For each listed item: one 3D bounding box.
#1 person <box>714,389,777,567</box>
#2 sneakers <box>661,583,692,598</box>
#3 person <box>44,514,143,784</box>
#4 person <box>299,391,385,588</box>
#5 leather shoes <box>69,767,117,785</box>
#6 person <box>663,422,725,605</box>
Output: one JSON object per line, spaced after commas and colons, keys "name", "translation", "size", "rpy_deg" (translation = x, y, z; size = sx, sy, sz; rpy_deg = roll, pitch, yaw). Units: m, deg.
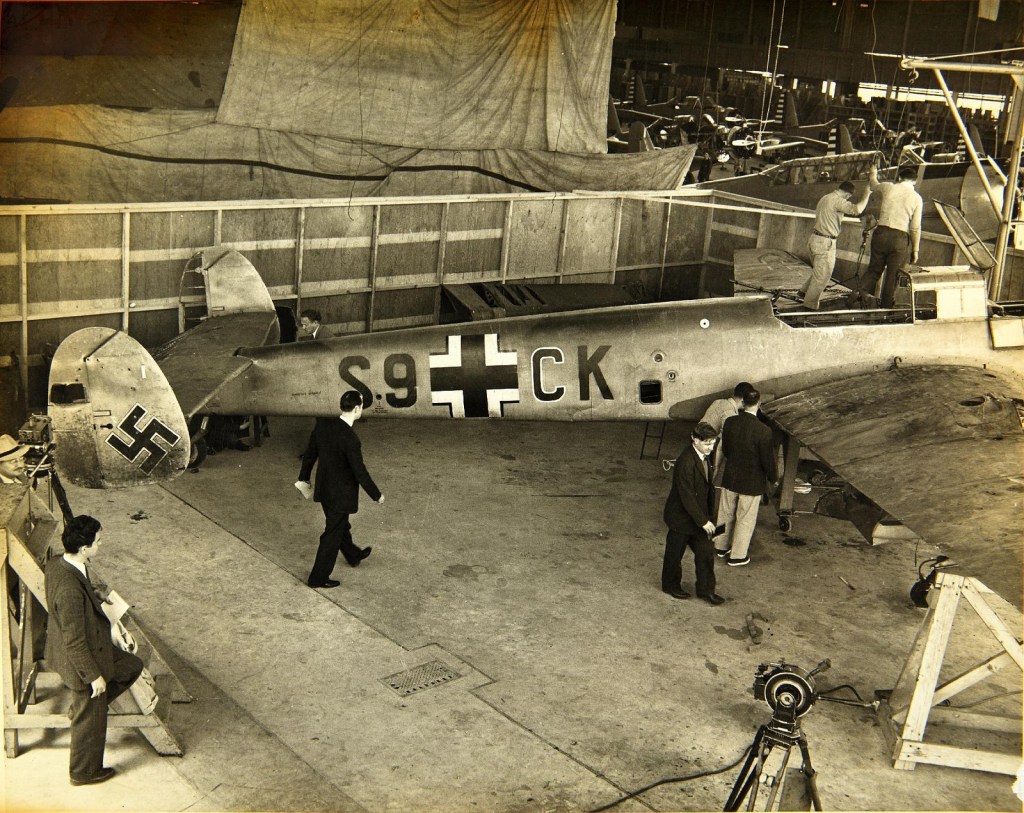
{"name": "person", "translation": [3.029, 0.925, 13.263], "size": [0.780, 2.387, 0.534], "rpy_deg": [5, 9, 24]}
{"name": "sneakers", "translation": [2.017, 2.288, 12.566], "size": [0.344, 0.278, 0.145], "rpy_deg": [0, 10, 4]}
{"name": "person", "translation": [-3.780, 2.225, 9.231], "size": [0.726, 2.431, 0.522], "rpy_deg": [-3, 10, -27]}
{"name": "person", "translation": [-2.149, 0.958, 12.597], "size": [0.976, 2.325, 1.170], "rpy_deg": [0, 9, -11]}
{"name": "leather shoes", "translation": [-3.815, 3.345, 9.297], "size": [0.343, 0.158, 0.141], "rpy_deg": [-7, 18, -23]}
{"name": "person", "translation": [2.208, 1.307, 12.440], "size": [0.726, 2.175, 0.563], "rpy_deg": [3, 9, 10]}
